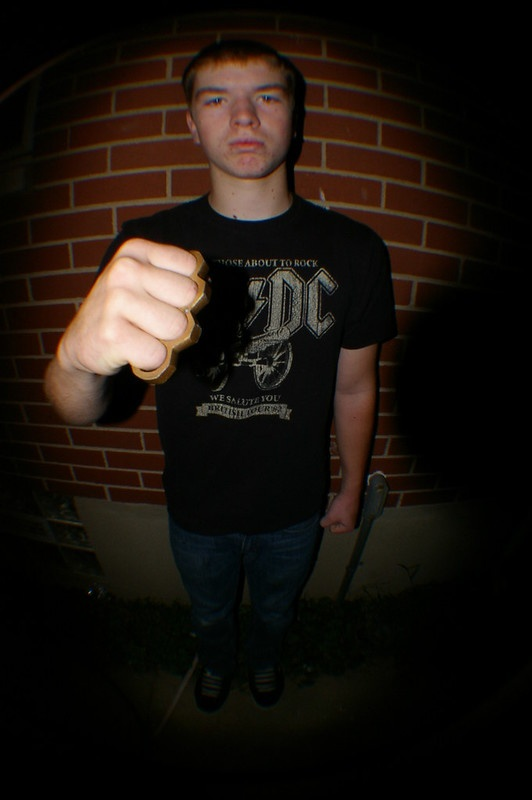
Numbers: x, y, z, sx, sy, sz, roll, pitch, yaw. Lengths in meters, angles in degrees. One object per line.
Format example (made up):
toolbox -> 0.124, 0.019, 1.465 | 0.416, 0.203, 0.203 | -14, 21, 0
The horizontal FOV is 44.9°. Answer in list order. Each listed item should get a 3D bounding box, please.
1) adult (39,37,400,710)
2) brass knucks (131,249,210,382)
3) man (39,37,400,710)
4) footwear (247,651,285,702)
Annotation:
adult -> -0.109, 0.045, 2.151 | 0.790, 2.144, 1.056 | 25, 37, 28
brass knucks -> -0.203, -0.180, 1.536 | 0.186, 0.310, 0.047 | 15, 2, 29
man -> -0.109, 0.045, 2.151 | 0.790, 2.144, 1.056 | 25, 37, 28
footwear -> 0.000, 1.047, 2.461 | 0.113, 0.085, 0.222 | 0, 54, -13
